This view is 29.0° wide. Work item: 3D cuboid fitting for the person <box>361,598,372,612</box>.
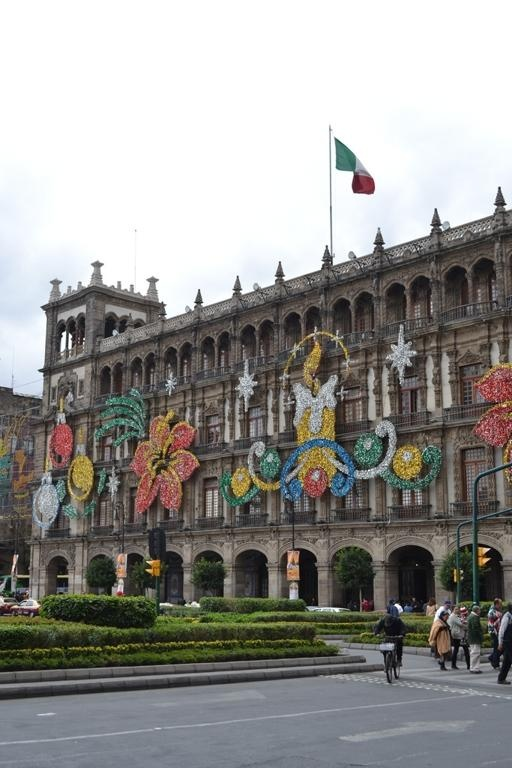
[{"bbox_3d":[5.363,10.738,48.042,0.360,0.766,0.449,-8,19,2],"label":"person"}]
